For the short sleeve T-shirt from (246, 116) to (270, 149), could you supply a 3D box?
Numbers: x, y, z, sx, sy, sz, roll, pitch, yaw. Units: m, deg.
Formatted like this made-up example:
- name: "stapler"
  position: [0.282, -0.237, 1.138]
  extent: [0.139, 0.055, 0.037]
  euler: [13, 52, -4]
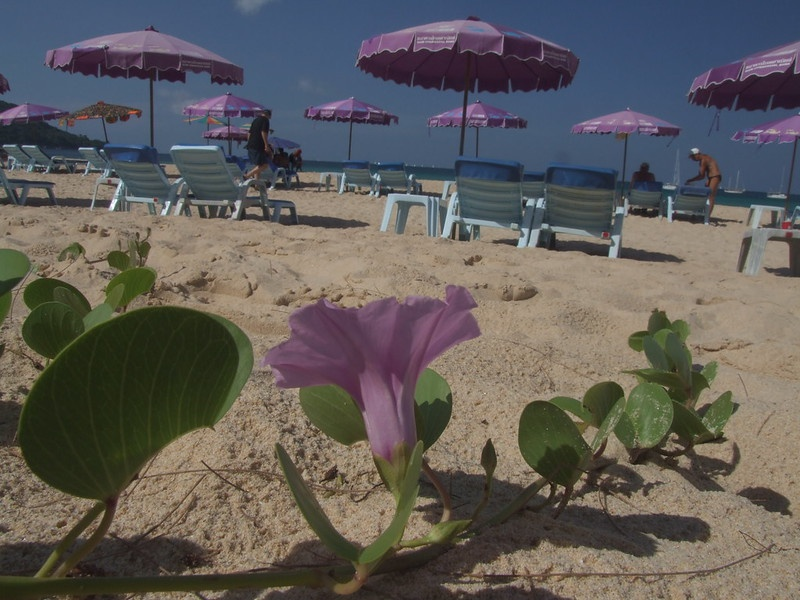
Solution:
- name: "short sleeve T-shirt"
  position: [-2.131, -2.532, 9.402]
  extent: [0.215, 0.548, 0.543]
  euler: [-2, 13, -33]

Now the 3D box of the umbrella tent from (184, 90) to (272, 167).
- name: "umbrella tent"
  position: [-4.053, -4.741, 14.804]
  extent: [1.520, 0.554, 1.675]
  euler: [-5, 3, 8]

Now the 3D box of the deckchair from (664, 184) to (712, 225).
- name: "deckchair"
  position: [5.344, -1.854, 11.722]
  extent: [0.685, 0.709, 1.032]
  euler: [7, 21, 11]

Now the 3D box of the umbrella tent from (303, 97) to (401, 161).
- name: "umbrella tent"
  position: [-1.292, -4.488, 16.726]
  extent: [2.681, 1.994, 2.771]
  euler: [12, 16, 34]

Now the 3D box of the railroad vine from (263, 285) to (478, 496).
- name: "railroad vine"
  position: [-0.063, 0.125, 1.156]
  extent: [0.316, 0.285, 0.358]
  euler: [-7, -4, 33]
